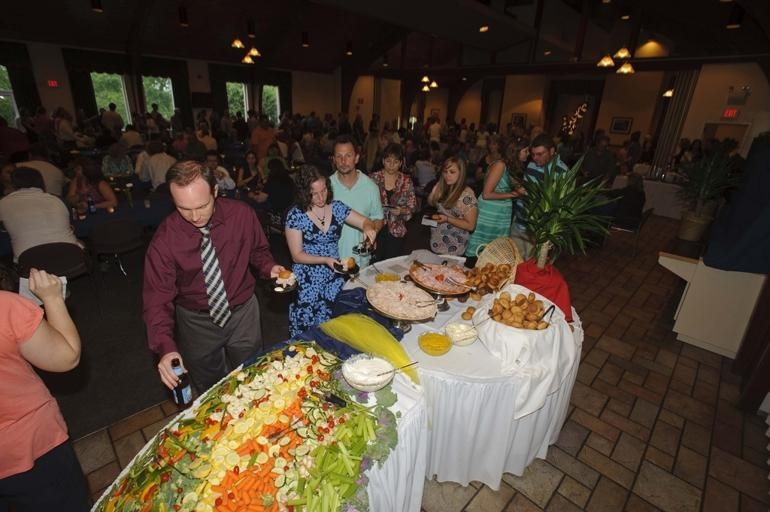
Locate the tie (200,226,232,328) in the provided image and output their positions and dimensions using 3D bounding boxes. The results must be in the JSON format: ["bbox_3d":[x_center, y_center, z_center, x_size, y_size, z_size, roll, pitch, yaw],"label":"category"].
[{"bbox_3d":[-1.378,0.160,3.454,0.167,0.807,0.242,-11,27,-28],"label":"tie"}]

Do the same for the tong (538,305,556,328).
[{"bbox_3d":[1.322,0.471,3.474,0.081,0.045,0.291,37,47,-2],"label":"tong"}]

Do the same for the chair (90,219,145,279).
[{"bbox_3d":[-3.559,-0.110,5.632,0.502,0.489,0.662,-23,-6,-44],"label":"chair"}]

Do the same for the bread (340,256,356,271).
[{"bbox_3d":[-0.315,0.067,3.694,0.122,0.126,0.106,0,-9,15],"label":"bread"}]

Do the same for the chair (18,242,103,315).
[{"bbox_3d":[-3.226,0.189,4.241,0.583,0.811,0.591,-8,58,-40],"label":"chair"}]

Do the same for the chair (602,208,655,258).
[{"bbox_3d":[4.168,-0.384,7.300,0.572,0.773,0.606,-22,32,-39],"label":"chair"}]

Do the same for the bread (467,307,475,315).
[{"bbox_3d":[0.746,0.451,3.650,0.055,0.020,0.064,-1,21,6],"label":"bread"}]

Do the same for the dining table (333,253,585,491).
[{"bbox_3d":[0.929,1.058,4.120,1.628,1.033,1.654,1,30,4],"label":"dining table"}]

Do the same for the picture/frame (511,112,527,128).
[{"bbox_3d":[4.878,-4.855,15.337,0.631,0.653,0.069,7,3,14],"label":"picture/frame"}]

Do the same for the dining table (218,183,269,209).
[{"bbox_3d":[-1.866,-0.794,5.656,0.649,0.185,0.657,6,14,-4],"label":"dining table"}]
